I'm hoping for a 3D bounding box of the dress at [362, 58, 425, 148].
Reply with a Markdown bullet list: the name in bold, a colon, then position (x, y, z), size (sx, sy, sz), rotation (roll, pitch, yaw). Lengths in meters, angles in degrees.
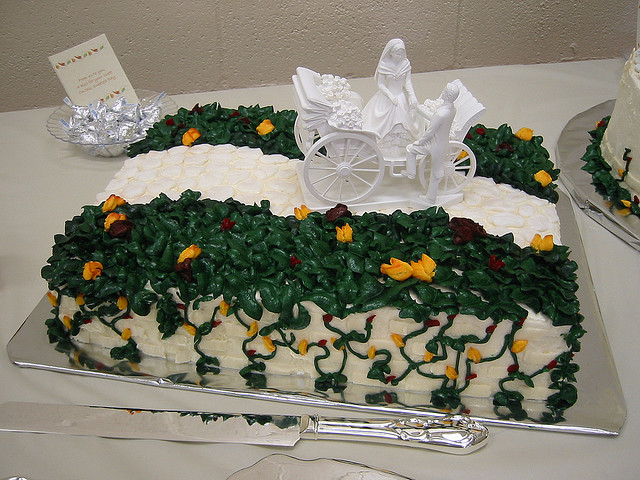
- **dress**: position (0.369, -0.687, 2.997), size (0.313, 0.365, 0.285), rotation (-1, 47, 3)
